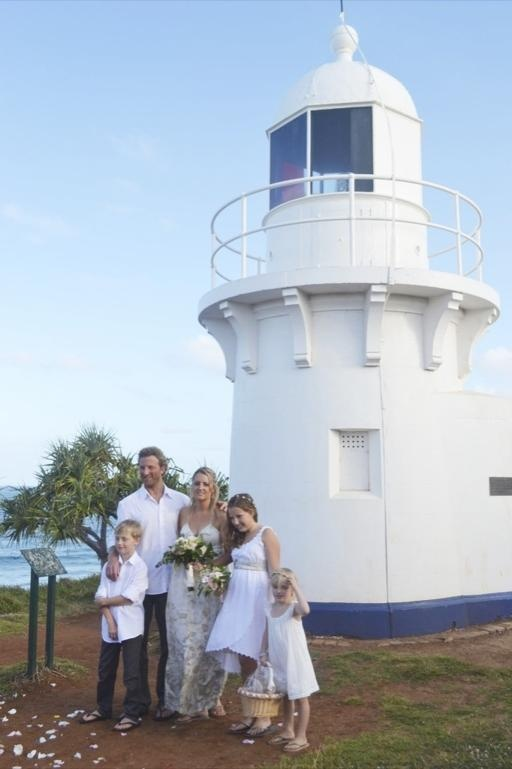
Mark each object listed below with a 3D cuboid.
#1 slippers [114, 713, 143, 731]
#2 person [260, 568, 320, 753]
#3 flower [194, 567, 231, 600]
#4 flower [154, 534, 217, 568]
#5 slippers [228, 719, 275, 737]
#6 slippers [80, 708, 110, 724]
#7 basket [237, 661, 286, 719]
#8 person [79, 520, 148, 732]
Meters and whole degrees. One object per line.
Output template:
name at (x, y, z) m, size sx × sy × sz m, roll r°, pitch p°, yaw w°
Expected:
slippers at (-1.046, 2.704, 6.521) m, size 0.083 × 0.091 × 0.216 m, roll -3°, pitch -10°, yaw 25°
person at (0.267, 2.074, 6.208) m, size 0.357 × 1.303 × 0.546 m, roll 2°, pitch -8°, yaw -21°
flower at (-0.375, 1.617, 6.709) m, size 0.253 × 0.280 × 0.254 m, roll 6°, pitch 1°, yaw -16°
flower at (-0.575, 1.375, 6.728) m, size 0.294 × 0.197 × 0.294 m, roll 3°, pitch -4°, yaw -38°
slippers at (-0.044, 2.686, 6.361) m, size 0.146 × 0.050 × 0.280 m, roll 0°, pitch -7°, yaw 22°
slippers at (-1.360, 2.734, 6.717) m, size 0.169 × 0.055 × 0.097 m, roll 7°, pitch -10°, yaw -24°
basket at (0.039, 2.380, 6.458) m, size 0.417 × 0.519 × 0.412 m, roll 2°, pitch -10°, yaw -1°
person at (-1.147, 1.967, 6.799) m, size 0.477 × 1.649 × 0.454 m, roll -6°, pitch -9°, yaw 36°
